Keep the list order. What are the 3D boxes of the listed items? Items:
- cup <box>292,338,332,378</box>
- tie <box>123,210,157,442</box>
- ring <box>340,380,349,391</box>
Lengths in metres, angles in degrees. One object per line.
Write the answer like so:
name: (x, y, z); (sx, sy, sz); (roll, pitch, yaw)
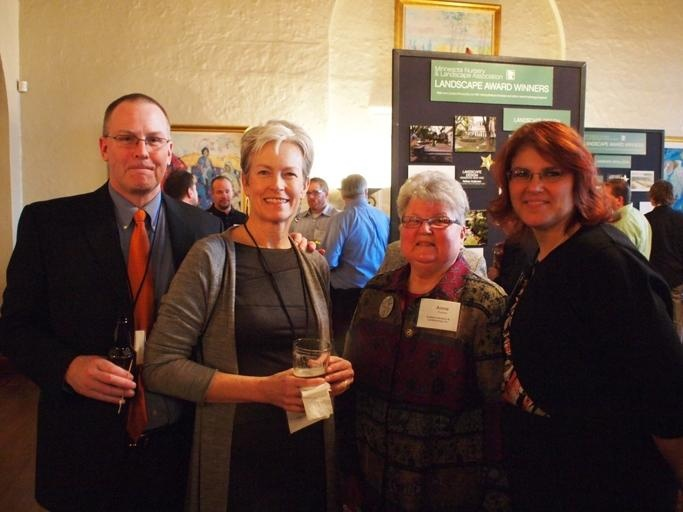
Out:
cup: (-0.121, 0.404, 2.222); (0.135, 0.109, 0.148); (5, 6, -1)
tie: (-0.944, 0.310, 2.453); (0.093, 1.108, 0.237); (6, -1, -23)
ring: (0.009, 0.534, 2.294); (0.018, 0.028, 0.036); (30, -30, -8)
